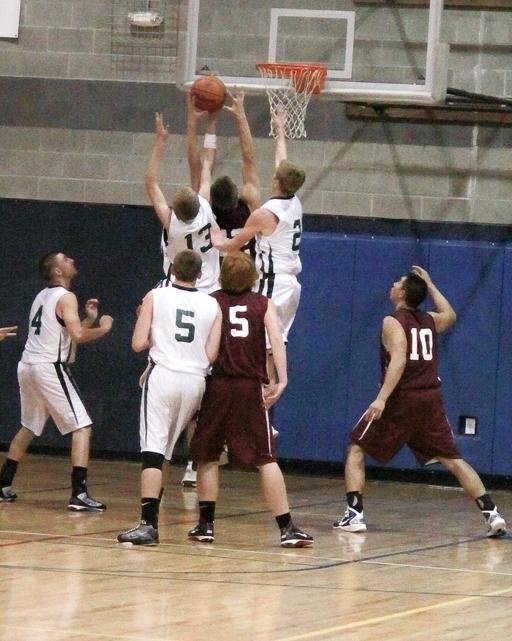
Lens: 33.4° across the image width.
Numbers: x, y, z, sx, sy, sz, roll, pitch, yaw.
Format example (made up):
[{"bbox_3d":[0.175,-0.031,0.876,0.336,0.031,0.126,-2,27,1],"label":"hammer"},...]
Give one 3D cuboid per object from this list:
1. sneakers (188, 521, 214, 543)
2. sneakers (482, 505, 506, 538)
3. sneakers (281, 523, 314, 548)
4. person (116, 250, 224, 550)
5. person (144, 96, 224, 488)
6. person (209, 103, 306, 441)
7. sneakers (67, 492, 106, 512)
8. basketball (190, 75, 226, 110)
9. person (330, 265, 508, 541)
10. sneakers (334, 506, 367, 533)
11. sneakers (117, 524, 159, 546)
[{"bbox_3d":[-0.271,1.075,4.324,0.066,0.077,0.173,6,-3,-24],"label":"sneakers"},{"bbox_3d":[1.341,1.155,4.847,0.093,0.091,0.230,-6,-9,3],"label":"sneakers"},{"bbox_3d":[0.201,1.089,4.311,0.196,0.117,0.098,-5,-3,-2],"label":"sneakers"},{"bbox_3d":[-0.449,0.375,4.206,0.365,1.426,0.475,12,12,28],"label":"person"},{"bbox_3d":[-0.337,0.046,5.083,0.522,1.716,0.381,-1,-14,-14],"label":"person"},{"bbox_3d":[-0.021,-0.204,5.599,0.692,1.578,0.576,2,7,14],"label":"person"},{"bbox_3d":[-1.041,1.123,5.312,0.280,0.141,0.091,2,0,-8],"label":"sneakers"},{"bbox_3d":[-0.290,-1.558,5.795,0.261,0.233,0.243,3,-28,3],"label":"basketball"},{"bbox_3d":[0.982,0.493,5.044,0.834,1.473,0.674,7,11,6],"label":"person"},{"bbox_3d":[0.558,1.155,4.977,0.095,0.129,0.248,1,-1,-33],"label":"sneakers"},{"bbox_3d":[-0.554,1.035,4.141,0.247,0.117,0.083,2,-6,2],"label":"sneakers"}]
